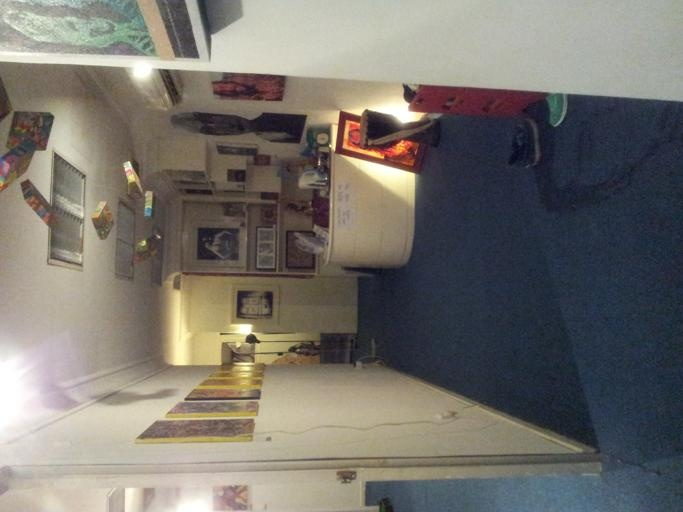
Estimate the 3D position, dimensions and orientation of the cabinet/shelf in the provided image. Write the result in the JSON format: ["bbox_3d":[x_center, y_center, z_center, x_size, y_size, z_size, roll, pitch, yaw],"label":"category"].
[{"bbox_3d":[-1.137,-0.821,5.202,1.022,0.470,1.464,-4,5,1],"label":"cabinet/shelf"}]

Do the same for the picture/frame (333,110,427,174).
[{"bbox_3d":[0.375,-0.873,4.103,0.698,0.354,0.171,5,12,-18],"label":"picture/frame"}]

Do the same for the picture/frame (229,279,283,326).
[{"bbox_3d":[-1.105,0.600,6.793,0.618,0.552,0.043,0,-1,-2],"label":"picture/frame"}]

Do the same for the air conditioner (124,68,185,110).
[{"bbox_3d":[-1.211,-1.086,3.542,0.315,0.212,0.604,-5,5,-12],"label":"air conditioner"}]
